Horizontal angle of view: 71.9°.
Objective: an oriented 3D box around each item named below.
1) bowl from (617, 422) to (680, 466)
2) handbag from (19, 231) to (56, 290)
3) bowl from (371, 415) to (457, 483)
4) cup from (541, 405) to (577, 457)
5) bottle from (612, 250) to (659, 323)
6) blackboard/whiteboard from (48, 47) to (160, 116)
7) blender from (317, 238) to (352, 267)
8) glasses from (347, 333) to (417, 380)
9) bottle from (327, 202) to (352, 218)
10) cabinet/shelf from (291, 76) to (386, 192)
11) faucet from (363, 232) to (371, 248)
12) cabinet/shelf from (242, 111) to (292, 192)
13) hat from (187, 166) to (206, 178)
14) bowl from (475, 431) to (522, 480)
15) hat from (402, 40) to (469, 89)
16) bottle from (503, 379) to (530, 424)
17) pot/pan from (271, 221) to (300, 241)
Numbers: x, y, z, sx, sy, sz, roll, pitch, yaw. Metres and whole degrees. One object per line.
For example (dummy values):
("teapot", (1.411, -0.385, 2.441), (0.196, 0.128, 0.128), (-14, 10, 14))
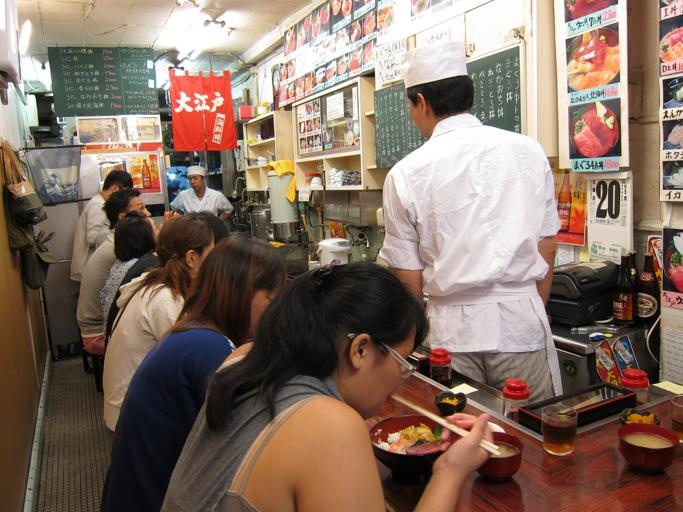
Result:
("bowl", (0.873, 0.506, 1.340), (0.120, 0.074, 0.129), (-1, 1, 0))
("handbag", (-2.709, 0.049, 4.198), (0.271, 0.518, 0.670), (-9, 12, -34))
("bowl", (0.207, 0.548, 1.341), (0.221, 0.119, 0.231), (-2, 7, 0))
("cup", (0.642, 0.511, 1.429), (0.112, 0.144, 0.122), (0, 4, 0))
("bottle", (1.668, 0.179, 2.664), (0.254, 0.400, 0.164), (-6, 10, -21))
("blackboard/whiteboard", (-3.304, -2.428, 6.544), (1.309, 0.921, 0.195), (-6, 10, -16))
("blender", (-0.101, -0.065, 4.289), (0.283, 0.281, 0.206), (-9, 15, -30))
("glasses", (0.102, 0.273, 1.184), (0.133, 0.037, 0.129), (31, 13, -38))
("bottle", (-0.056, -0.491, 5.094), (0.195, 0.134, 0.205), (1, 5, 0))
("cabinet/shelf", (-0.050, -1.265, 5.026), (0.387, 0.960, 1.274), (-9, 9, -36))
("faucet", (0.250, -0.171, 4.876), (0.077, 0.106, 0.208), (-13, -13, 2))
("cabinet/shelf", (-1.008, -1.460, 6.399), (0.364, 1.211, 1.241), (-2, 2, -20))
("hat", (-1.984, -1.157, 6.417), (0.172, 0.128, 0.178), (-4, 11, -14))
("bowl", (0.463, 0.556, 1.386), (0.116, 0.085, 0.131), (-1, -2, -2))
("hat", (0.411, -0.831, 2.117), (0.195, 0.145, 0.251), (-16, 9, -30))
("bottle", (0.604, 0.487, 1.643), (0.077, 0.131, 0.093), (1, 11, 20))
("pot/pan", (-0.674, -0.298, 5.617), (0.246, 0.195, 0.264), (-1, 6, 6))
